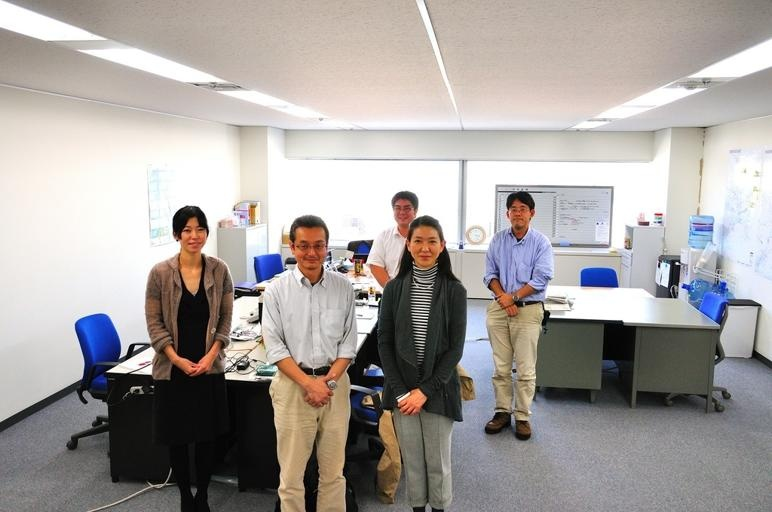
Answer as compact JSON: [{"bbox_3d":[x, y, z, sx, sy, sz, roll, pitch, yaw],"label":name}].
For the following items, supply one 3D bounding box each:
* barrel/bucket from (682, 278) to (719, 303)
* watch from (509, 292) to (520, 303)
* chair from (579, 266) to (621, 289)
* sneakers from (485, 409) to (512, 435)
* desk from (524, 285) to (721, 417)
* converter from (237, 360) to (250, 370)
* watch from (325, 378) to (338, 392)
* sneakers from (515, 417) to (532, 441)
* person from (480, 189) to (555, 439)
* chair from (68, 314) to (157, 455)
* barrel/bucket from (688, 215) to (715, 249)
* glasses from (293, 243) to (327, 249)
[{"bbox_3d":[4.566,0.490,7.326,0.337,0.569,0.337,6,0,0],"label":"barrel/bucket"},{"bbox_3d":[1.280,0.413,5.045,0.101,0.066,0.091,9,-11,0],"label":"watch"},{"bbox_3d":[3.046,0.307,7.265,0.339,0.534,0.369,-1,-1,7],"label":"chair"},{"bbox_3d":[1.155,1.720,5.223,0.134,0.154,0.353,-5,-9,36],"label":"sneakers"},{"bbox_3d":[2.755,0.991,5.907,1.599,0.660,1.567,1,9,12],"label":"desk"},{"bbox_3d":[-1.211,0.921,4.286,0.068,0.039,0.115,1,-2,-2],"label":"converter"},{"bbox_3d":[-0.387,0.885,3.568,0.054,0.083,0.081,-37,30,1],"label":"watch"},{"bbox_3d":[1.383,1.742,5.053,0.104,0.101,0.250,-1,-6,7],"label":"sneakers"},{"bbox_3d":[1.327,0.588,5.168,0.649,2.455,0.498,2,8,13],"label":"person"},{"bbox_3d":[-2.600,1.195,4.991,0.896,1.163,0.990,0,3,-13],"label":"chair"},{"bbox_3d":[4.979,-0.381,7.983,0.326,0.501,0.339,1,8,0],"label":"barrel/bucket"},{"bbox_3d":[-0.551,-0.070,3.629,0.221,0.044,0.064,0,7,-6],"label":"glasses"}]
